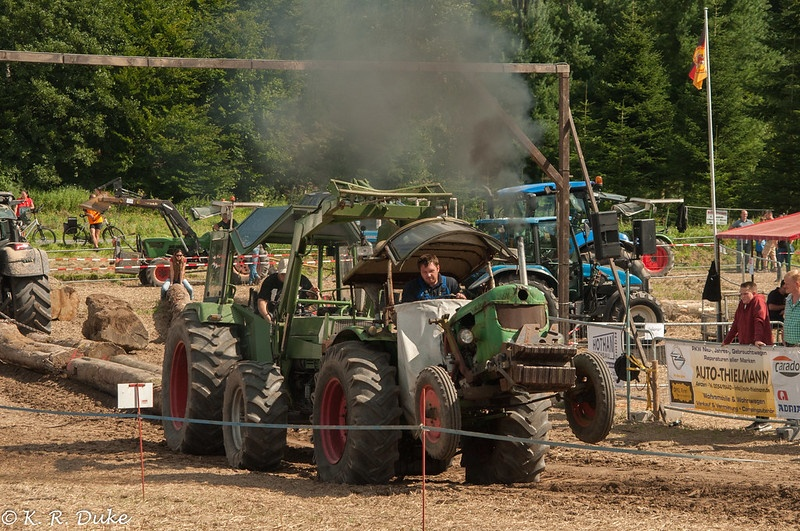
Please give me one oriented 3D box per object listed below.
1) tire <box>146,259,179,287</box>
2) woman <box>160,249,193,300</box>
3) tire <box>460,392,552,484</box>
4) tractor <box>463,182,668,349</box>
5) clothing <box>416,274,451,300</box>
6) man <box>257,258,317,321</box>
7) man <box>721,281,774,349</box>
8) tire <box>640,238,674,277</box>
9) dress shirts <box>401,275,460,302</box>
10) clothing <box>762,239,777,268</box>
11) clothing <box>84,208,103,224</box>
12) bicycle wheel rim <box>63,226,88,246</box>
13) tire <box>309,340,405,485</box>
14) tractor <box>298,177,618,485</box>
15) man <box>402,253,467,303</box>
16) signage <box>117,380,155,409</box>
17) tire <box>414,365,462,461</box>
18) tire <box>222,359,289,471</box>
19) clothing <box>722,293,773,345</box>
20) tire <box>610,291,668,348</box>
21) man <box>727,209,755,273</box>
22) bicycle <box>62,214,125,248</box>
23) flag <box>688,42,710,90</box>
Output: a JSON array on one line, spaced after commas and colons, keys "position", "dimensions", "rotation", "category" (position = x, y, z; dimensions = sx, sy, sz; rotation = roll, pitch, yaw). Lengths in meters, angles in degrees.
[{"position": [-7.451, 0.242, 38.889], "dimensions": [0.650, 0.672, 0.213], "rotation": [32, -20, -32], "category": "tire"}, {"position": [-6.249, 0.343, 34.912], "dimensions": [0.852, 1.574, 0.807], "rotation": [-1, 10, -15], "category": "woman"}, {"position": [2.308, 3.736, 27.140], "dimensions": [1.768, 1.900, 0.631], "rotation": [-6, -10, 36], "category": "tire"}, {"position": [4.521, -0.298, 36.419], "dimensions": [6.426, 4.532, 4.047], "rotation": [4, 25, 20], "category": "tractor"}, {"position": [0.757, 0.313, 27.559], "dimensions": [0.826, 0.836, 0.453], "rotation": [0, -10, -8], "category": "clothing"}, {"position": [-2.776, 0.723, 29.589], "dimensions": [1.226, 1.754, 1.012], "rotation": [-3, 27, -22], "category": "man"}, {"position": [8.742, 1.323, 31.470], "dimensions": [0.715, 1.921, 1.034], "rotation": [8, -18, -32], "category": "man"}, {"position": [8.796, -0.205, 42.992], "dimensions": [1.332, 1.431, 0.500], "rotation": [7, 5, 32], "category": "tire"}, {"position": [0.632, 0.610, 27.750], "dimensions": [1.115, 0.897, 0.587], "rotation": [0, -2, -9], "category": "dress shirts"}, {"position": [12.593, -0.379, 42.448], "dimensions": [0.467, 0.411, 1.359], "rotation": [20, -8, 16], "category": "clothing"}, {"position": [-11.258, -1.764, 45.603], "dimensions": [0.648, 0.475, 0.780], "rotation": [18, -4, -27], "category": "clothing"}, {"position": [-12.225, -1.079, 46.736], "dimensions": [1.328, 0.867, 0.686], "rotation": [0, 0, 8], "category": "bicycle wheel rim"}, {"position": [-0.855, 3.260, 27.223], "dimensions": [0.810, 2.709, 2.557], "rotation": [1, -12, -29], "category": "tire"}, {"position": [1.065, 1.435, 27.294], "dimensions": [6.009, 6.754, 2.358], "rotation": [-1, -1, -3], "category": "tractor"}, {"position": [0.720, 0.448, 27.720], "dimensions": [1.404, 1.354, 0.780], "rotation": [-3, 5, -5], "category": "man"}, {"position": [-5.839, 2.877, 27.495], "dimensions": [0.799, 0.636, 0.094], "rotation": [1, 0, -7], "category": "signage"}, {"position": [0.807, 3.080, 26.612], "dimensions": [0.585, 2.272, 1.945], "rotation": [1, -1, -20], "category": "tire"}, {"position": [-3.430, 3.342, 29.044], "dimensions": [0.924, 2.946, 2.962], "rotation": [-3, 35, -20], "category": "tire"}, {"position": [8.431, 1.308, 30.042], "dimensions": [1.084, 1.208, 0.830], "rotation": [-2, -2, 26], "category": "clothing"}, {"position": [6.200, 1.463, 32.694], "dimensions": [1.214, 1.293, 0.397], "rotation": [6, -16, -22], "category": "tire"}, {"position": [11.900, -0.746, 43.048], "dimensions": [1.165, 2.278, 0.653], "rotation": [-6, 14, -12], "category": "man"}, {"position": [-11.487, -1.316, 46.698], "dimensions": [2.361, 1.546, 1.184], "rotation": [-2, 9, -9], "category": "bicycle"}, {"position": [9.854, -6.624, 41.198], "dimensions": [0.497, 1.831, 3.035], "rotation": [-1, -1, 13], "category": "flag"}]
